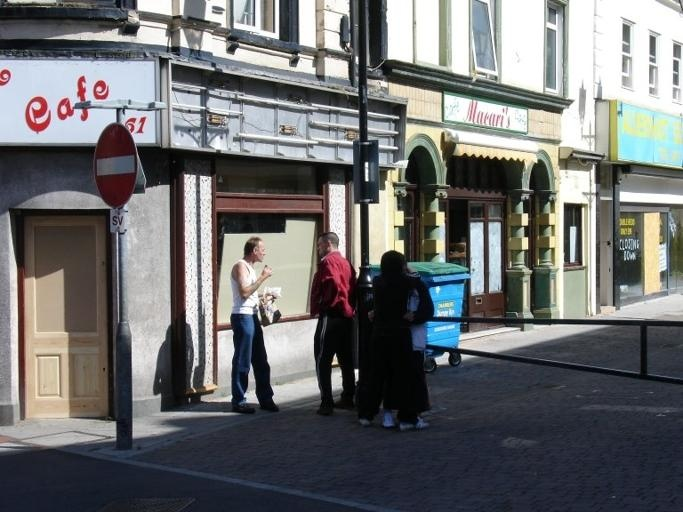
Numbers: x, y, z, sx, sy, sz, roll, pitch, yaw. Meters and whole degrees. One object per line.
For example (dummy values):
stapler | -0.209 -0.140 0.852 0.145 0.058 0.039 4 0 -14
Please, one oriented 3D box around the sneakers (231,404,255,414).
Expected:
sneakers | -1.344 2.095 14.802 0.329 0.164 0.127 -1 7 16

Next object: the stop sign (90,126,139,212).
stop sign | -2.715 -1.094 12.987 0.630 1.031 0.246 5 11 31

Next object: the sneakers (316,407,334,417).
sneakers | -0.214 2.081 14.495 0.220 0.114 0.199 -2 11 -4

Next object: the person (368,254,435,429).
person | 0.794 1.077 13.797 0.755 2.211 0.664 -1 9 1

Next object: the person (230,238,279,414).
person | -1.228 0.973 14.809 0.649 2.394 0.649 -2 9 -7

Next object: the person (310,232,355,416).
person | -0.090 0.919 14.583 0.627 2.412 0.627 -2 9 -7
